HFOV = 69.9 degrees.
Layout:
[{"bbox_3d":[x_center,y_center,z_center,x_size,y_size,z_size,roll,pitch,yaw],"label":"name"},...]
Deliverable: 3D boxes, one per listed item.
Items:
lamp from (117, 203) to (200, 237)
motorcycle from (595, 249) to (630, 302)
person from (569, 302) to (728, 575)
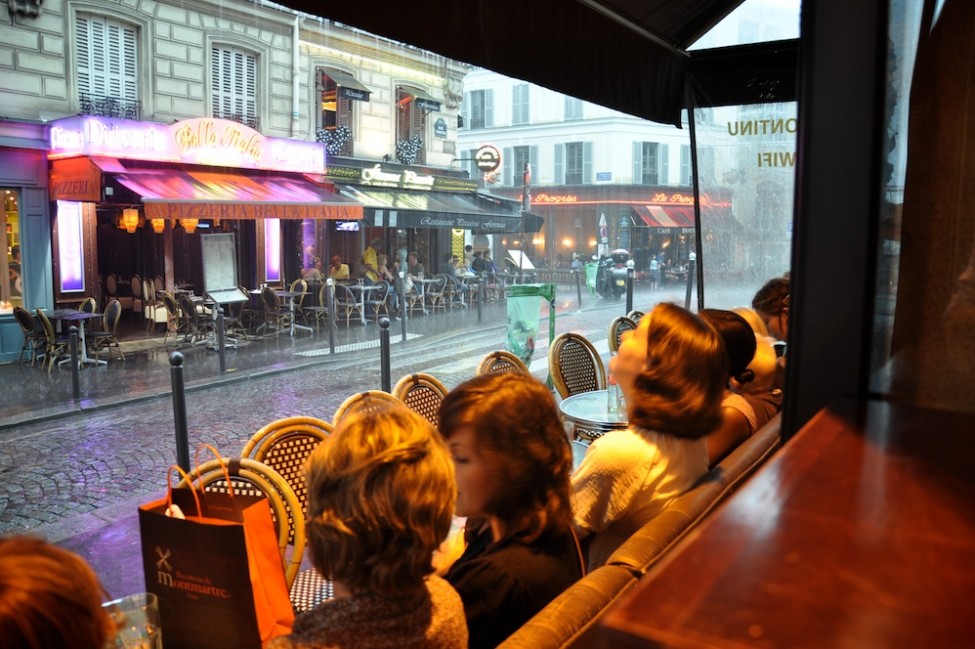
[{"bbox_3d":[-7.758,-2.494,16.618,1.015,0.388,1.065,1,1,36],"label":"lamp"},{"bbox_3d":[4.770,-1.921,26.425,1.027,1.465,2.428,-1,2,-7],"label":"motorcycle"},{"bbox_3d":[0.697,0.488,3.007,0.682,1.119,0.430,-2,8,6],"label":"person"}]
